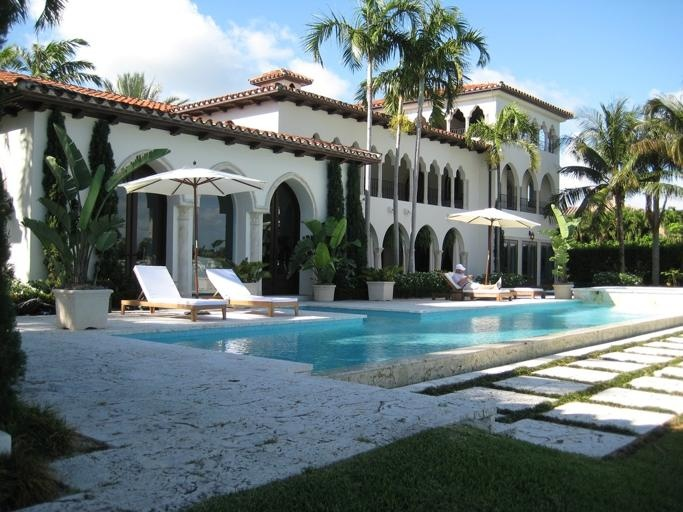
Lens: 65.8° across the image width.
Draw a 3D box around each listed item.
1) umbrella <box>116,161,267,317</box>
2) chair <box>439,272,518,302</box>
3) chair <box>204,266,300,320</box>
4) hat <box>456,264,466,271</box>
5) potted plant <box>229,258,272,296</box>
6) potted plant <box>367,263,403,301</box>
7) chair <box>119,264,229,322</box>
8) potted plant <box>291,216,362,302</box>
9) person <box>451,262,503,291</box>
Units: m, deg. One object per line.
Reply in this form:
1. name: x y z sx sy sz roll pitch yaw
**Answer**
1. umbrella: -4.150 -0.481 14.272 3.811 3.945 3.811 0 -4 -12
2. chair: 4.961 1.267 19.104 1.993 0.940 1.262 -3 -3 26
3. chair: -2.187 0.815 12.552 2.271 1.047 0.911 0 1 36
4. hat: 5.054 0.470 22.528 0.281 0.235 0.414 3 -3 44
5. potted plant: -2.767 0.654 15.993 1.041 1.130 1.097 -1 -5 22
6. potted plant: 1.520 0.945 18.832 1.018 1.105 1.198 -3 -4 41
7. chair: -3.689 0.770 11.518 2.407 1.205 0.857 -3 -7 33
8. potted plant: -0.556 0.132 18.071 2.139 2.923 2.765 0 -9 13
9. person: 5.144 0.777 19.597 2.120 1.320 1.094 -2 -2 13
